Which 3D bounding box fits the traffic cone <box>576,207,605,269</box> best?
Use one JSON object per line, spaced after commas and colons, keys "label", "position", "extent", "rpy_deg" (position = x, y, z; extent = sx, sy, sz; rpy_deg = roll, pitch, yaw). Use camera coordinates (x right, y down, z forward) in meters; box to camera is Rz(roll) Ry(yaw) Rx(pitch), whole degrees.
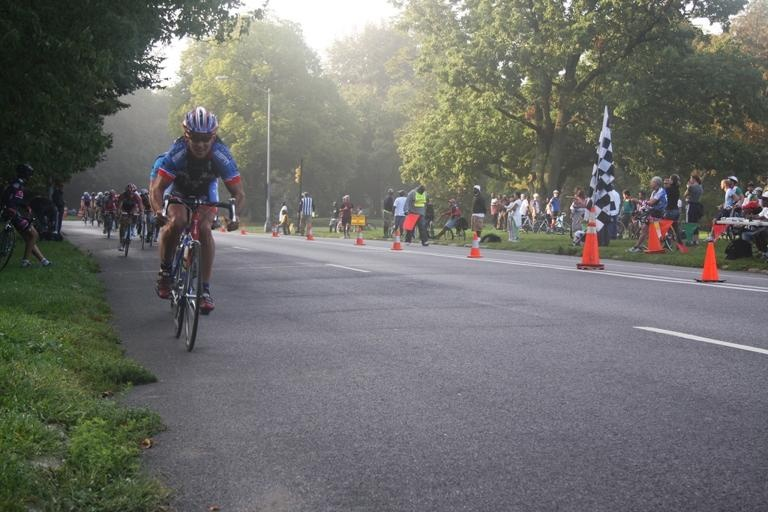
{"label": "traffic cone", "position": [5.349, -0.511, 16.951], "extent": [0.900, 1.550, 0.926], "rpy_deg": [-3, 7, -27]}

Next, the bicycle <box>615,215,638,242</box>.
{"label": "bicycle", "position": [11.030, -1.183, 29.513], "extent": [0.271, 1.156, 1.084], "rpy_deg": [7, 11, -32]}

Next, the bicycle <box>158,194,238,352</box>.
{"label": "bicycle", "position": [-2.413, 0.171, 8.416], "extent": [0.620, 1.873, 1.395], "rpy_deg": [-3, 7, -30]}

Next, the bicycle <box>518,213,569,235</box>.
{"label": "bicycle", "position": [9.348, -1.971, 38.645], "extent": [1.420, 1.306, 4.041], "rpy_deg": [-2, 7, -16]}

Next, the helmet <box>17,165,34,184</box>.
{"label": "helmet", "position": [-7.798, -1.816, 14.402], "extent": [0.317, 0.466, 0.418], "rpy_deg": [4, -2, -37]}

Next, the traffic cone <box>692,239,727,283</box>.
{"label": "traffic cone", "position": [7.135, 0.073, 14.320], "extent": [0.492, 0.853, 1.326], "rpy_deg": [3, 7, 28]}

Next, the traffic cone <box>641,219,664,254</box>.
{"label": "traffic cone", "position": [8.750, -0.661, 21.203], "extent": [0.556, 1.012, 1.272], "rpy_deg": [2, 7, 23]}

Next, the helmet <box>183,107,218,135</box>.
{"label": "helmet", "position": [-2.249, -1.661, 8.058], "extent": [0.396, 0.325, 0.276], "rpy_deg": [-3, 7, -26]}

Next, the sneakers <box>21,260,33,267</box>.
{"label": "sneakers", "position": [-7.925, 0.157, 14.596], "extent": [0.081, 0.098, 0.206], "rpy_deg": [3, 6, 15]}

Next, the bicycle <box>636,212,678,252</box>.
{"label": "bicycle", "position": [8.930, -0.777, 21.370], "extent": [0.962, 1.278, 1.024], "rpy_deg": [2, 5, 17]}
